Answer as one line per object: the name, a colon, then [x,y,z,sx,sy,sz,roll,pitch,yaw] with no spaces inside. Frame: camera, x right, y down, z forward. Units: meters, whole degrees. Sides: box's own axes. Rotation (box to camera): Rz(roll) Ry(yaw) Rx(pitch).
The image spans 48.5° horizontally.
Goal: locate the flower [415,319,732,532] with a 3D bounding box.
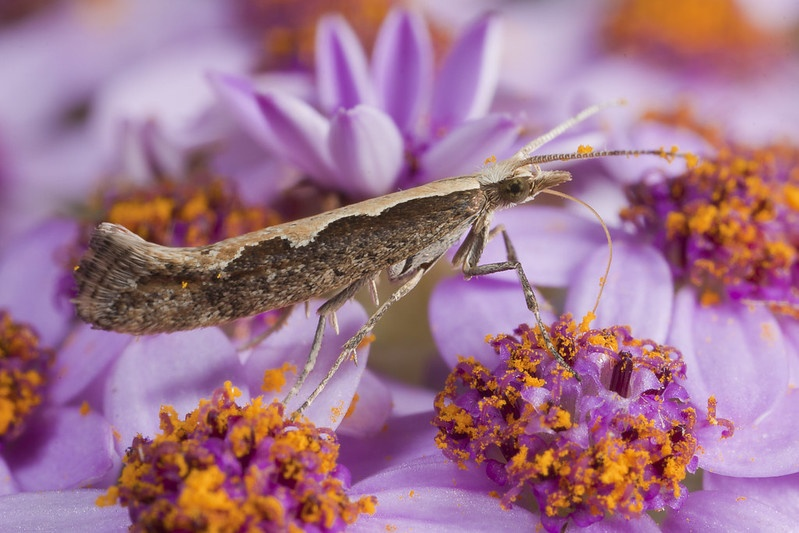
flower: [0.259,0.234,1.417,0.356,0.229,0.344,40,60,19]
